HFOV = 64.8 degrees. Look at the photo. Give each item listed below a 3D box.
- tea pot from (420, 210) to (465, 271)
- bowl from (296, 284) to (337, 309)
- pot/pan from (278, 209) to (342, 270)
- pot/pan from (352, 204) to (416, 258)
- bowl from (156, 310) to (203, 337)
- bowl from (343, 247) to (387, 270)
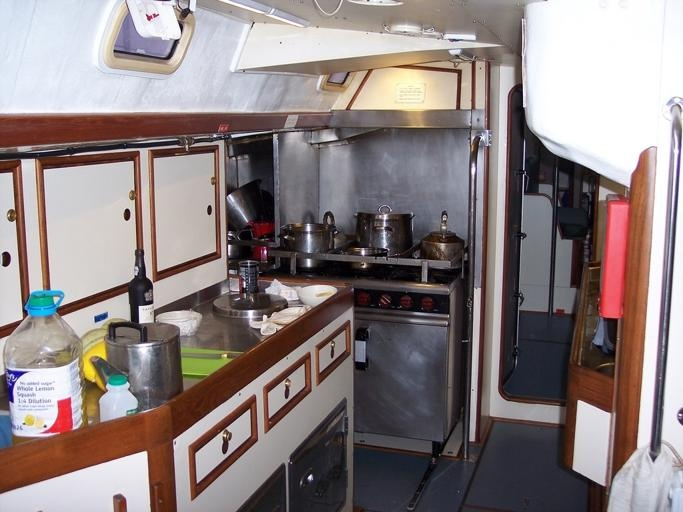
[{"bbox_3d":[0.644,-0.114,3.450,0.334,0.381,0.335,0,8,0],"label":"tea pot"},{"bbox_3d":[-0.110,0.183,2.472,0.181,0.071,0.246,0,9,4],"label":"bowl"},{"bbox_3d":[-0.169,-0.150,3.662,0.488,0.424,0.355,-9,21,-27],"label":"pot/pan"},{"bbox_3d":[0.295,-0.216,3.655,0.298,0.258,0.379,-6,11,-26],"label":"pot/pan"},{"bbox_3d":[-0.634,0.240,2.125,0.134,0.061,0.135,2,8,0],"label":"bowl"},{"bbox_3d":[0.167,0.024,3.501,0.267,0.161,0.280,-1,9,0],"label":"bowl"}]
